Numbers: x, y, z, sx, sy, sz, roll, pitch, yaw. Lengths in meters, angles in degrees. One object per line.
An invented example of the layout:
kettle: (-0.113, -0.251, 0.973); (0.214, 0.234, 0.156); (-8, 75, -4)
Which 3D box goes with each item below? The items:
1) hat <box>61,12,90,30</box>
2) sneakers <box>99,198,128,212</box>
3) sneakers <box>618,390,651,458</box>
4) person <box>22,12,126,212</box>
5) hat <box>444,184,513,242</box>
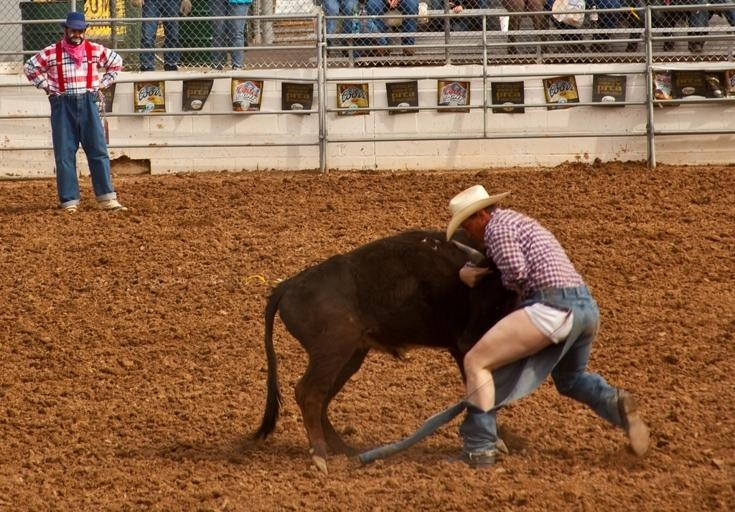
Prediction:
hat: (-3.858, -3.106, 13.599); (0.263, 0.220, 0.294); (-7, 16, -19)
sneakers: (-3.431, -0.688, 13.914); (0.393, 0.170, 0.153); (0, 6, 10)
sneakers: (2.392, 1.540, 9.513); (0.212, 0.676, 0.279); (-11, -10, -4)
person: (-3.847, -1.920, 13.757); (1.146, 2.591, 0.731); (-5, 15, -11)
hat: (0.953, -0.464, 9.389); (0.528, 0.206, 0.461); (-34, 0, 11)
